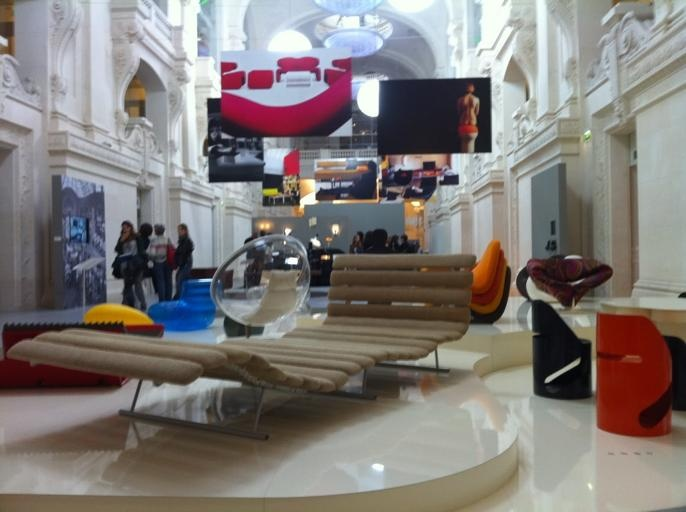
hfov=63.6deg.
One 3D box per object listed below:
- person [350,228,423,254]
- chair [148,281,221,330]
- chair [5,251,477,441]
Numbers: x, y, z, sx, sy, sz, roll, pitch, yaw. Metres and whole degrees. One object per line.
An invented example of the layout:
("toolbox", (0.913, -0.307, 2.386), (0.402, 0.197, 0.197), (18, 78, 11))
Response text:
("person", (0.720, -0.248, 10.393), (0.894, 0.375, 0.956), (-1, -3, 25))
("chair", (-1.647, 0.550, 5.959), (0.694, 0.555, 0.454), (3, -4, -4))
("chair", (-0.249, 0.518, 3.653), (1.330, 0.991, 2.713), (-1, -3, 32))
